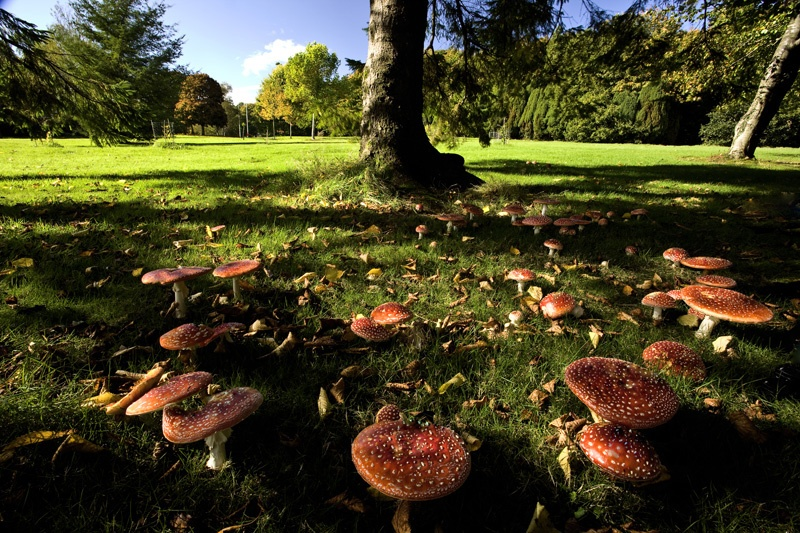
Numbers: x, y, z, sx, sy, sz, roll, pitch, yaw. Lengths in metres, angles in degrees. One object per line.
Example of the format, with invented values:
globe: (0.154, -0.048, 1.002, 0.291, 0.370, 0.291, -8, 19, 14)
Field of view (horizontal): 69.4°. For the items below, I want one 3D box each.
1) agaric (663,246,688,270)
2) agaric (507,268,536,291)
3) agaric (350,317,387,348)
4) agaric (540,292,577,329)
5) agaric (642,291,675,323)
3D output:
agaric: (4.786, -0.174, 10.123, 0.367, 0.310, 0.378, -9, 17, -19)
agaric: (2.035, 0.201, 9.642, 0.378, 0.364, 0.394, 0, 5, -2)
agaric: (-0.460, 0.964, 8.819, 0.490, 0.182, 0.369, 30, 17, -1)
agaric: (2.480, 0.625, 9.108, 0.431, 0.480, 0.267, 18, 40, -7)
agaric: (4.102, 0.614, 9.236, 0.474, 0.478, 0.484, -9, 18, -22)
